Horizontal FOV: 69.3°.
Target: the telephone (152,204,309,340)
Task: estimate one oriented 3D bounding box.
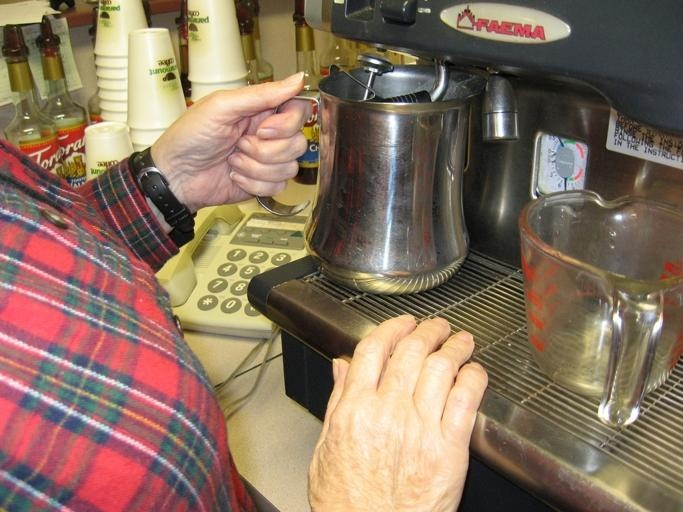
[{"bbox_3d":[-0.181,-0.022,0.782,0.161,0.084,0.236,5,41,12],"label":"telephone"}]

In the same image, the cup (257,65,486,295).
[{"bbox_3d":[0.049,-0.107,0.594,0.245,0.251,0.169,4,30,4],"label":"cup"}]

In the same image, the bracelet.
[{"bbox_3d":[-0.226,-0.071,0.614,0.060,0.096,0.098,-34,66,6],"label":"bracelet"}]
